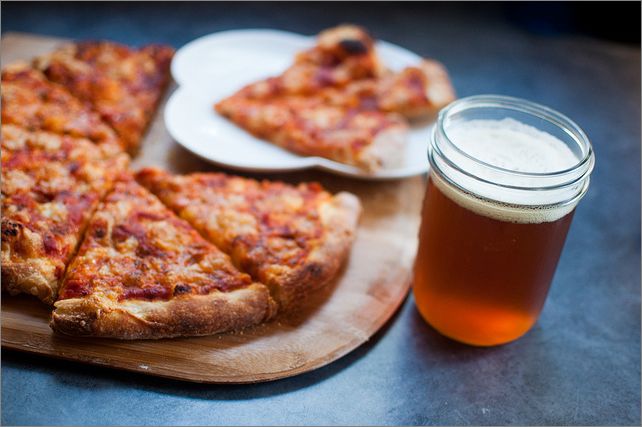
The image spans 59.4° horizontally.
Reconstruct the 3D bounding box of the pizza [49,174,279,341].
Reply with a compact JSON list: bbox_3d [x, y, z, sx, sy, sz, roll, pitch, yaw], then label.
[{"bbox_3d":[-0.316,0.087,1.236,0.431,0.099,0.387,0,58,0],"label":"pizza"}]

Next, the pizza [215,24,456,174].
[{"bbox_3d":[0.039,-0.293,1.659,0.557,0.077,0.491,-6,51,-29],"label":"pizza"}]
